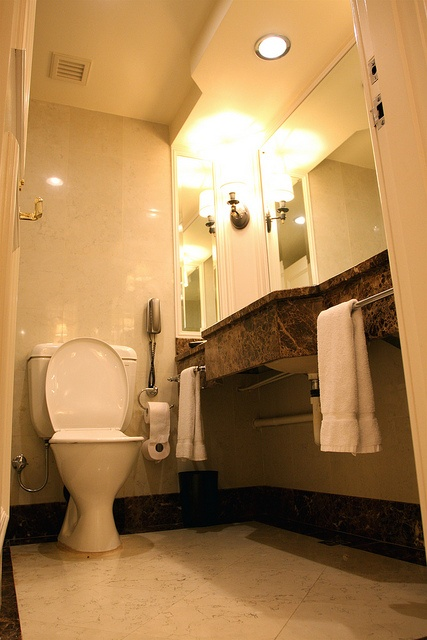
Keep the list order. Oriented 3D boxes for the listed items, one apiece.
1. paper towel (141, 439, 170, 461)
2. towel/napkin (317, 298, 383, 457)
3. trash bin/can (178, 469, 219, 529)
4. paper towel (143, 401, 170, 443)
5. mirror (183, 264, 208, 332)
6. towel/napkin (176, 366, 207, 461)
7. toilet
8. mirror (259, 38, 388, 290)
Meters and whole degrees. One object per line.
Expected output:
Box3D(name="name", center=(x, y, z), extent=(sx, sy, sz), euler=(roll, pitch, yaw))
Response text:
Box3D(name="paper towel", center=(-0.282, 0.608, 2.312), extent=(0.096, 0.140, 0.094), euler=(2, -1, -38))
Box3D(name="towel/napkin", center=(0.331, 0.136, 1.193), extent=(0.132, 0.371, 0.228), euler=(-2, -3, 11))
Box3D(name="trash bin/can", center=(-0.072, 0.892, 2.378), extent=(0.220, 0.271, 0.220), euler=(12, -17, -42))
Box3D(name="paper towel", center=(-0.283, 0.506, 2.351), extent=(0.121, 0.195, 0.127), euler=(1, -10, -5))
Box3D(name="mirror", center=(-0.120, -0.127, 2.778), extent=(0.141, 0.425, 0.023), euler=(-5, 12, -23))
Box3D(name="towel/napkin", center=(-0.114, 0.420, 2.160), extent=(0.125, 0.400, 0.313), euler=(-2, -3, -5))
Box3D(name="toilet", center=(-0.529, 0.496, 1.978), extent=(0.444, 0.853, 0.568), euler=(-1, -3, -23))
Box3D(name="mirror", center=(0.456, -0.676, 1.983), extent=(0.041, 0.964, 0.870), euler=(2, -17, -17))
